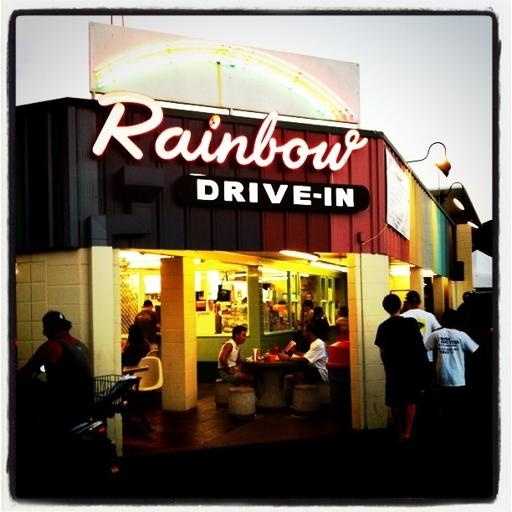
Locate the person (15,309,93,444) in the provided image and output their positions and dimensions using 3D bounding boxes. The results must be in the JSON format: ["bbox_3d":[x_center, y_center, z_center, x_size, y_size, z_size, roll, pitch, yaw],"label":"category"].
[{"bbox_3d":[-2.354,1.368,8.339,0.822,1.406,0.894,0,-1,-11],"label":"person"}]

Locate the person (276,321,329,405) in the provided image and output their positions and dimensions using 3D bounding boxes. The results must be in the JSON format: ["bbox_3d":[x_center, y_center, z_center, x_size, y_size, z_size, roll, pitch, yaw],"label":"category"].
[{"bbox_3d":[1.011,1.891,13.399,1.003,2.151,1.024,2,-10,9],"label":"person"}]

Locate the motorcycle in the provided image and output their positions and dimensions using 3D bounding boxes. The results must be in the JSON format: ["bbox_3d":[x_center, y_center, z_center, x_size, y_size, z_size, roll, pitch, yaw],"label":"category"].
[{"bbox_3d":[-2.408,2.506,8.460,0.356,1.638,1.320,-37,-42,26],"label":"motorcycle"}]

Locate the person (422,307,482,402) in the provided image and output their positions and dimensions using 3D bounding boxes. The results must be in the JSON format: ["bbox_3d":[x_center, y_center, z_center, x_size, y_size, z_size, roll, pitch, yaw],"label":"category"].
[{"bbox_3d":[2.828,1.356,10.171,0.728,1.150,0.474,0,-1,20],"label":"person"}]

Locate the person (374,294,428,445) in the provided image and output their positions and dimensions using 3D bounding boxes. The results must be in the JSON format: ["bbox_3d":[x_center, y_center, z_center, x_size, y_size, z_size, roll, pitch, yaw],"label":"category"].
[{"bbox_3d":[2.073,1.760,9.948,0.705,1.805,0.518,0,-1,16],"label":"person"}]

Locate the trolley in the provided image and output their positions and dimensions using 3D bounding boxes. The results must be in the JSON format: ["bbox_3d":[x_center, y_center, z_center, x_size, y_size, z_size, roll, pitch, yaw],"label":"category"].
[{"bbox_3d":[-1.849,1.791,9.287,0.380,0.695,0.649,-8,-18,36],"label":"trolley"}]
